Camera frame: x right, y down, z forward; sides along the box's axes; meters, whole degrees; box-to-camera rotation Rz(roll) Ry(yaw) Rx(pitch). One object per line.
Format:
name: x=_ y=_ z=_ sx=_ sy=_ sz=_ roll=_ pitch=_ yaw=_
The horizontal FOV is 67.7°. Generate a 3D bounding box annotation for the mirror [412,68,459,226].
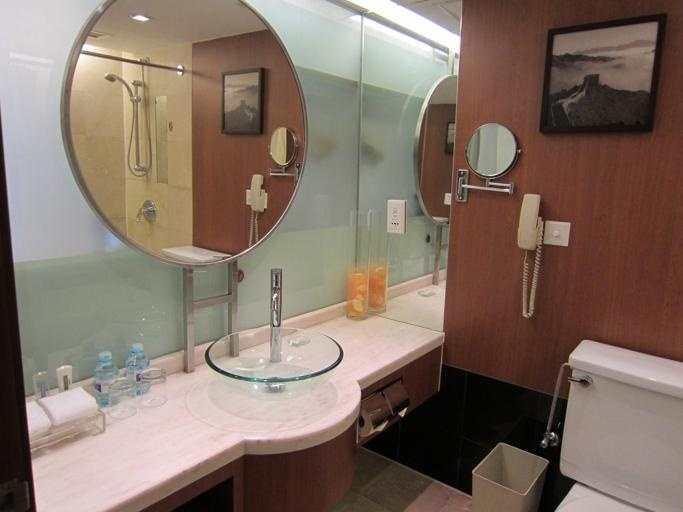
mirror: x=0.441 y=-0.512 z=2.458 sx=0.227 sy=0.695 sz=0.126 roll=5 pitch=15 yaw=29

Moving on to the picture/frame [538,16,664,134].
picture/frame: x=1.032 y=-0.716 z=1.993 sx=0.436 sy=0.477 sz=0.029 roll=8 pitch=14 yaw=31

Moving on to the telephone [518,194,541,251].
telephone: x=0.800 y=-0.152 z=2.176 sx=0.092 sy=0.223 sz=0.090 roll=1 pitch=13 yaw=14

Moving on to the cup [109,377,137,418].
cup: x=-0.740 y=0.478 z=1.709 sx=0.083 sy=0.143 sz=0.084 roll=3 pitch=18 yaw=-1

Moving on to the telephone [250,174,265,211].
telephone: x=-0.335 y=-0.260 z=2.045 sx=0.053 sy=0.179 sz=0.042 roll=9 pitch=40 yaw=4

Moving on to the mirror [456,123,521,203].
mirror: x=0.662 y=-0.427 z=2.271 sx=0.303 sy=0.385 sz=0.037 roll=10 pitch=14 yaw=37

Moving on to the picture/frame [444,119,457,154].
picture/frame: x=0.506 y=-0.556 z=2.386 sx=0.032 sy=0.152 sz=0.068 roll=-9 pitch=15 yaw=-28

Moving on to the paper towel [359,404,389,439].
paper towel: x=0.129 y=0.656 z=2.057 sx=0.165 sy=0.138 sz=0.044 roll=-14 pitch=18 yaw=-42

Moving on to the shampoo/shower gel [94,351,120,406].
shampoo/shower gel: x=-0.806 y=0.408 z=1.738 sx=0.081 sy=0.177 sz=0.135 roll=-9 pitch=15 yaw=-28

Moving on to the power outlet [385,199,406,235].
power outlet: x=0.272 y=-0.203 z=2.590 sx=0.145 sy=0.253 sz=0.039 roll=8 pitch=11 yaw=40

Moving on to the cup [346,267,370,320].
cup: x=0.080 y=0.182 z=2.615 sx=0.109 sy=0.253 sz=0.120 roll=-1 pitch=13 yaw=6

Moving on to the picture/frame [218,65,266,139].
picture/frame: x=-0.391 y=-0.596 z=1.944 sx=0.026 sy=0.369 sz=0.249 roll=16 pitch=19 yaw=41

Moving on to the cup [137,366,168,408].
cup: x=-0.669 y=0.455 z=1.785 sx=0.101 sy=0.126 sz=0.107 roll=3 pitch=16 yaw=-1
